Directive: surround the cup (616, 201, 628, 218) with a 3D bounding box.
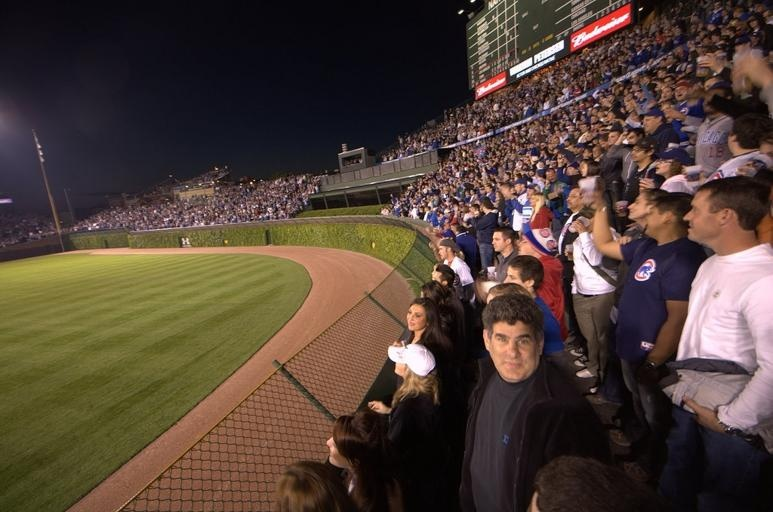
[{"bbox_3d":[4.070,-0.822,7.467,0.155,0.250,0.243,-3,13,28],"label":"cup"}]

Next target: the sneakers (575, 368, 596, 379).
[{"bbox_3d":[3.277,1.945,7.140,0.238,0.088,0.193,-12,11,-17],"label":"sneakers"}]

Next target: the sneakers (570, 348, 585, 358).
[{"bbox_3d":[3.342,1.685,7.559,0.270,0.082,0.210,-12,11,-22],"label":"sneakers"}]

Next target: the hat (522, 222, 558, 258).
[{"bbox_3d":[2.718,-0.296,7.715,0.474,0.492,1.240,-5,11,17],"label":"hat"}]

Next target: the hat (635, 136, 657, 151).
[{"bbox_3d":[4.482,-1.946,7.506,0.279,0.236,0.227,-2,13,31],"label":"hat"}]

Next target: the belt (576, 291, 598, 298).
[{"bbox_3d":[3.217,0.618,6.972,0.068,0.078,0.346,-14,12,-26],"label":"belt"}]

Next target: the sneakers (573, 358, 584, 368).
[{"bbox_3d":[3.273,1.814,7.363,0.159,0.072,0.211,-5,11,16],"label":"sneakers"}]

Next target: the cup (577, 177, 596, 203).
[{"bbox_3d":[2.997,-1.022,6.696,0.387,0.348,0.296,-2,5,-25],"label":"cup"}]

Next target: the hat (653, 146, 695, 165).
[{"bbox_3d":[4.908,-1.736,7.503,0.607,0.327,0.434,16,19,39],"label":"hat"}]

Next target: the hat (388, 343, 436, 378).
[{"bbox_3d":[0.303,1.297,5.630,0.559,0.303,0.360,29,51,17],"label":"hat"}]
